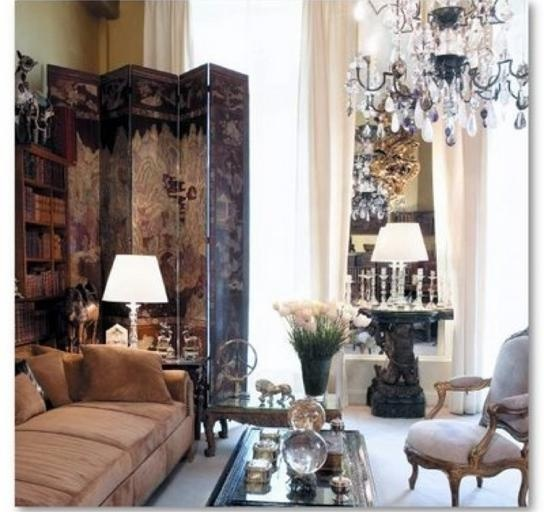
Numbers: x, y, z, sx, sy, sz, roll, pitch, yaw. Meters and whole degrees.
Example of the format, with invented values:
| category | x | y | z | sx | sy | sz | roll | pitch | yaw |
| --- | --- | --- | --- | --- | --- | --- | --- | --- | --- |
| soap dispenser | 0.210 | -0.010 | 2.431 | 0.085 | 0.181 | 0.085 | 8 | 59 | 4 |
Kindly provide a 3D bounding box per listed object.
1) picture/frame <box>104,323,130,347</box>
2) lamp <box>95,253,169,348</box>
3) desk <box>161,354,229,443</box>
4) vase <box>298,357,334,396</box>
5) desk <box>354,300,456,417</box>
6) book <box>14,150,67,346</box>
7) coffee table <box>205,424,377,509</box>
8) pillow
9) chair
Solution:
| category | x | y | z | sx | sy | sz | roll | pitch | yaw |
| --- | --- | --- | --- | --- | --- | --- | --- | --- | --- |
| picture/frame | -1.289 | 0.657 | 4.469 | 0.148 | 0.222 | 0.029 | 1 | 2 | 3 |
| lamp | -1.162 | 0.382 | 4.563 | 0.552 | 1.273 | 0.630 | 1 | -2 | -15 |
| desk | -0.624 | 1.209 | 4.454 | 0.439 | 0.567 | 0.501 | -13 | -8 | -15 |
| vase | 0.297 | 0.824 | 3.712 | 0.210 | 0.267 | 0.233 | 1 | -5 | 4 |
| desk | 1.253 | 0.983 | 5.266 | 0.905 | 1.164 | 0.755 | -1 | 3 | 9 |
| book | -1.875 | -0.064 | 4.336 | 0.235 | 1.590 | 0.663 | -1 | 2 | 3 |
| coffee table | 0.166 | 1.185 | 3.168 | 0.845 | 0.219 | 1.109 | -2 | 1 | 11 |
| pillow | -1.221 | 0.909 | 3.814 | 0.839 | 0.486 | 0.383 | 3 | -15 | -16 |
| chair | 1.219 | 0.957 | 3.684 | 0.803 | 1.447 | 0.981 | 4 | -7 | -9 |
